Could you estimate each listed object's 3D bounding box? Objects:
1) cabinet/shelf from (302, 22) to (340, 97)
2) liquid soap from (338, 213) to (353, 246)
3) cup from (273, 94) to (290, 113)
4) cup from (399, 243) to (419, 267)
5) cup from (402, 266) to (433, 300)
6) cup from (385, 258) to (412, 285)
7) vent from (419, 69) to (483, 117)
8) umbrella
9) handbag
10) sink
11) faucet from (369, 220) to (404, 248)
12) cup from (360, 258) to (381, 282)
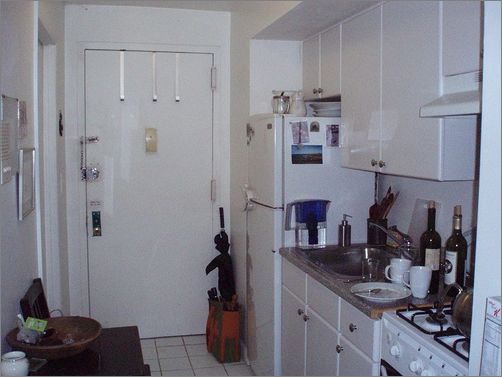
[{"bbox_3d":[0.590,-0.971,3.119,0.162,0.462,0.503,-4,7,-32],"label":"cabinet/shelf"},{"bbox_3d":[0.701,0.313,2.967,0.092,0.232,0.070,-4,7,-29],"label":"liquid soap"},{"bbox_3d":[0.230,-0.638,3.003,0.126,0.123,0.109,2,2,6],"label":"cup"},{"bbox_3d":[0.895,0.379,2.236,0.083,0.105,0.091,0,0,0],"label":"cup"},{"bbox_3d":[0.888,0.498,2.096,0.157,0.172,0.106,-1,0,32],"label":"cup"},{"bbox_3d":[0.829,0.456,2.269,0.148,0.161,0.101,-4,10,-21],"label":"cup"},{"bbox_3d":[0.938,-0.409,1.803,0.222,0.162,0.232,-4,5,-19],"label":"vent"},{"bbox_3d":[-0.293,0.632,3.818,0.284,0.864,0.461,-2,6,-6],"label":"umbrella"},{"bbox_3d":[-0.253,1.307,3.660,0.327,0.553,0.211,-1,6,-4],"label":"handbag"},{"bbox_3d":[0.687,0.506,2.878,0.316,0.099,0.332,-2,6,-21],"label":"sink"},{"bbox_3d":[0.963,0.346,2.772,0.177,0.182,0.389,-1,7,-1],"label":"faucet"},{"bbox_3d":[0.703,0.473,2.348,0.105,0.137,0.113,1,-3,0],"label":"cup"}]
